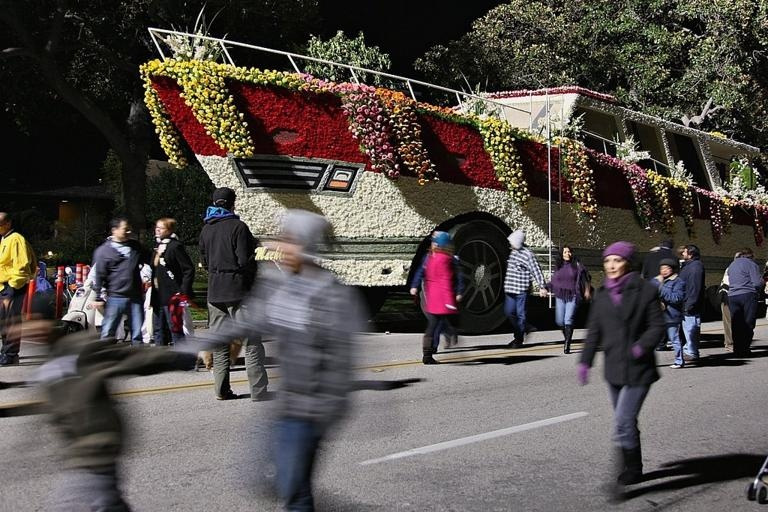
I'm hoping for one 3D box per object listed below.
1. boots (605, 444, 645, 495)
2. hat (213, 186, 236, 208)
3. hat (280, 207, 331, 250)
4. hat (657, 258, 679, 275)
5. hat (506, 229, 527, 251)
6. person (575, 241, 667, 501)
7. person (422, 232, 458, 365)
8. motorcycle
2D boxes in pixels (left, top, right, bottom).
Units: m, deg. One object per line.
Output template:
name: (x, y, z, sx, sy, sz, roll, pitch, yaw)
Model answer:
boots: (2.123, 1.837, 4.773, 0.274, 0.377, 0.748, 0, -2, 25)
hat: (-2.053, -0.786, 7.143, 0.345, 0.258, 0.563, 2, 6, 2)
hat: (-0.520, -0.187, 3.602, 0.327, 0.307, 0.294, 1, -9, 3)
hat: (5.153, 0.160, 9.881, 0.373, 0.291, 0.277, 13, -17, -38)
hat: (2.859, -0.379, 11.597, 0.481, 0.494, 0.353, 1, -15, 21)
person: (2.101, 0.935, 4.817, 0.677, 2.163, 0.607, 0, -2, 36)
person: (1.026, 0.716, 9.217, 0.599, 2.288, 1.020, 2, -2, -25)
motorcycle: (-6.240, 0.937, 11.546, 0.851, 1.183, 1.716, 13, 5, -3)
